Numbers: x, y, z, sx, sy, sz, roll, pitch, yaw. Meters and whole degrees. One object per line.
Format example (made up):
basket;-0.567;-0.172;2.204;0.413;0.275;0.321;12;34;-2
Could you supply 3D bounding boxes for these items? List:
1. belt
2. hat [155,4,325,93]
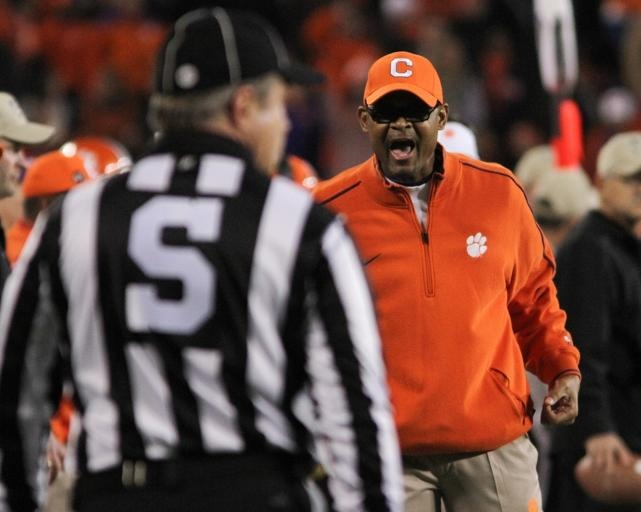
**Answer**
belt;-0.529;0.739;4.452;0.611;0.174;0.050;5;11;1
hat;-0.326;-0.705;4.563;0.427;0.209;0.291;-11;13;-16
